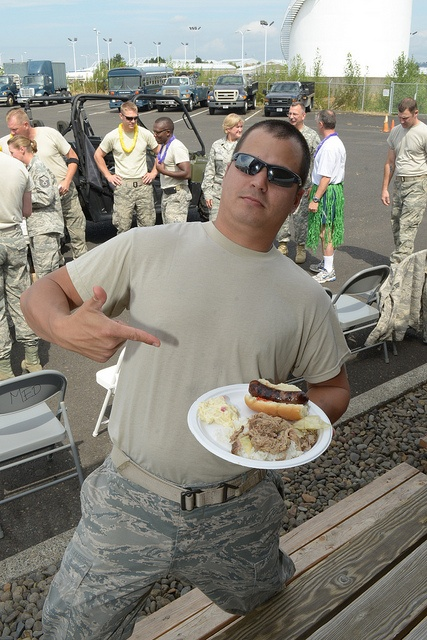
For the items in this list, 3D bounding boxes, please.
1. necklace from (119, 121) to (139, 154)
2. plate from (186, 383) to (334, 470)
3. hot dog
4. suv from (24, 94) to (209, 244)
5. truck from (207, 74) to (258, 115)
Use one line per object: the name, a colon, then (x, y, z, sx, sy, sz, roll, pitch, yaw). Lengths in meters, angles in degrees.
necklace: (-1.456, -3.012, 7.761, 0.305, 0.481, 0.086, -5, 7, -17)
plate: (0.115, 0.236, 1.077, 0.326, 0.105, 0.350, -10, 6, 1)
hot dog: (0.159, 0.191, 1.185, 0.156, 0.054, 0.085, 10, 13, 41)
suv: (-1.516, -3.202, 9.182, 3.525, 2.197, 2.270, -13, 39, -21)
truck: (1.499, -16.261, 33.496, 2.166, 1.945, 5.125, 3, 34, 10)
